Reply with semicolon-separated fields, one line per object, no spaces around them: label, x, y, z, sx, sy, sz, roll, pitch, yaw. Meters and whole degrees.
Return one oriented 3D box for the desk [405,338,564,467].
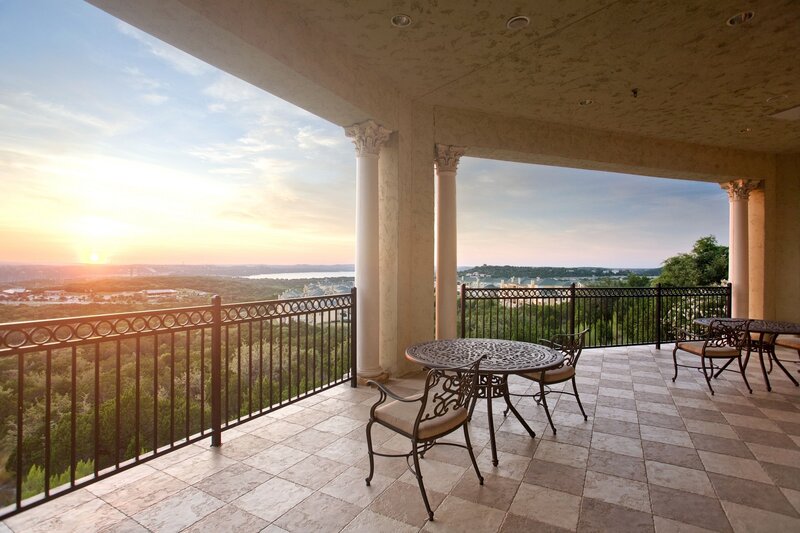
desk;1.270;2.032;6.895;2.018;1.048;1.817;-1;-3;1

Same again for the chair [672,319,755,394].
chair;5.711;1.518;8.185;0.987;1.173;1.083;1;1;37
